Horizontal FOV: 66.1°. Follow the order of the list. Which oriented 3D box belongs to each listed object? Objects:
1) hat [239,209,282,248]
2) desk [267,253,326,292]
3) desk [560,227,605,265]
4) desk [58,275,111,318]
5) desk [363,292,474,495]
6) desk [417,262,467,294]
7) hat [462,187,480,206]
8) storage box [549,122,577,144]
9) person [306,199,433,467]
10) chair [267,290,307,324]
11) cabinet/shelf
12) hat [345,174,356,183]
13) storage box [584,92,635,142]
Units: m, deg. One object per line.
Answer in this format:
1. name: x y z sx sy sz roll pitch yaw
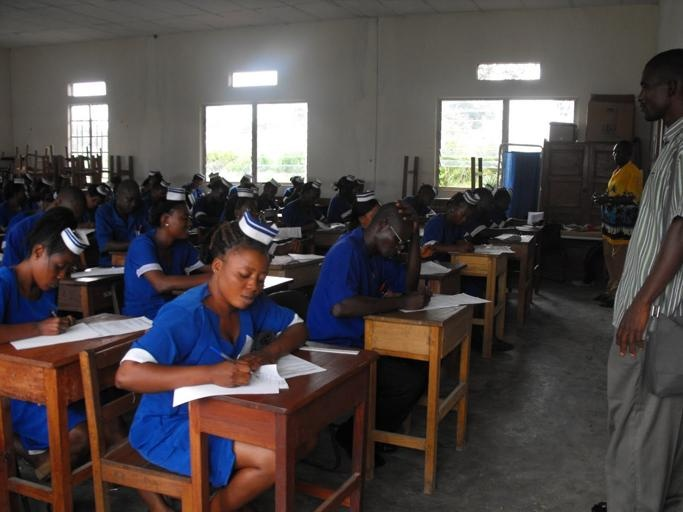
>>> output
1. hat: -0.277 -0.081 1.885 0.151 0.091 0.114 32 3 -19
2. desk: -0.418 0.090 4.168 0.236 0.226 0.449 6 9 28
3. desk: 3.446 -0.194 7.633 0.664 0.653 0.482 -1 4 8
4. desk: -1.658 0.259 3.389 0.343 0.350 0.265 6 9 44
5. desk: 0.401 0.683 2.759 0.470 0.872 0.603 3 11 20
6. desk: 0.707 0.154 3.726 0.296 0.209 0.250 2 6 21
7. hat: 1.131 -0.505 4.637 0.130 0.145 0.183 1 10 13
8. storage box: 3.366 -1.896 8.028 0.344 0.323 0.355 6 15 25
9. person: 0.142 0.400 2.808 0.687 1.343 0.610 5 6 15
10. chair: -0.301 0.266 2.830 0.171 0.209 0.163 4 8 44
11. cabinet/shelf: 3.372 -0.978 7.157 1.610 1.722 0.594 1 3 16
12. hat: 0.127 -1.036 7.184 0.135 0.071 0.208 13 7 13
13. storage box: 4.071 -2.117 8.111 0.733 0.780 0.771 3 2 20
